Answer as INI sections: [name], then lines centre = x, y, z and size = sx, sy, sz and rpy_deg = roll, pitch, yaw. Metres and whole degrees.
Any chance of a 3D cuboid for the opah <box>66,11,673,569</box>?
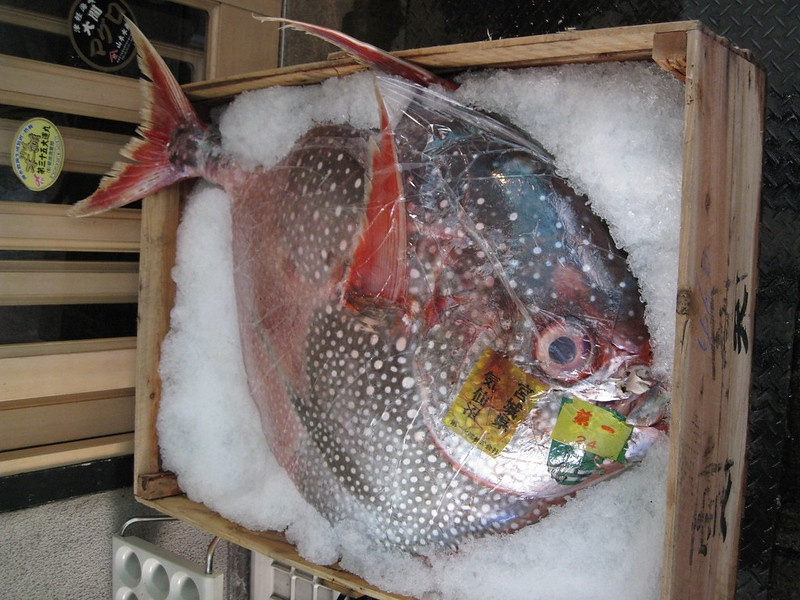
[opah]
centre = -0.188, -0.057, 2.320
size = 1.861, 0.429, 1.230
rpy_deg = 19, 101, 32
